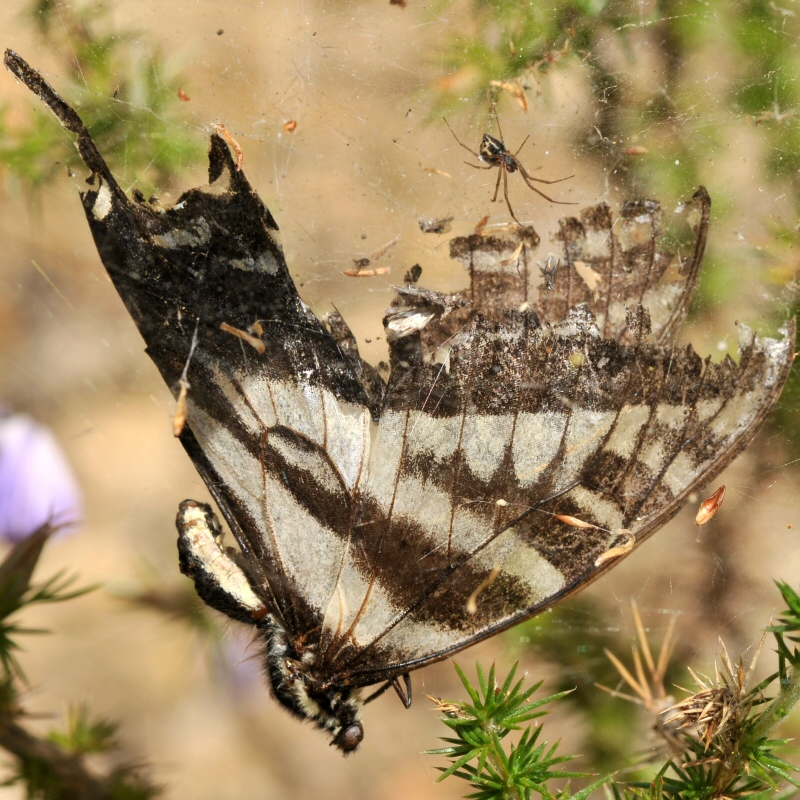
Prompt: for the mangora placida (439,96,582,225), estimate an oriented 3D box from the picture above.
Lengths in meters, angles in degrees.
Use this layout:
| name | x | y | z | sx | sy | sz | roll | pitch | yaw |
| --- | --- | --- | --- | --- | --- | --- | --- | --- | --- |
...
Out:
| name | x | y | z | sx | sy | sz | roll | pitch | yaw |
| --- | --- | --- | --- | --- | --- | --- | --- | --- | --- |
| mangora placida | 0.340 | -0.710 | 4.160 | 0.226 | 0.091 | 0.337 | -36 | 81 | -11 |
